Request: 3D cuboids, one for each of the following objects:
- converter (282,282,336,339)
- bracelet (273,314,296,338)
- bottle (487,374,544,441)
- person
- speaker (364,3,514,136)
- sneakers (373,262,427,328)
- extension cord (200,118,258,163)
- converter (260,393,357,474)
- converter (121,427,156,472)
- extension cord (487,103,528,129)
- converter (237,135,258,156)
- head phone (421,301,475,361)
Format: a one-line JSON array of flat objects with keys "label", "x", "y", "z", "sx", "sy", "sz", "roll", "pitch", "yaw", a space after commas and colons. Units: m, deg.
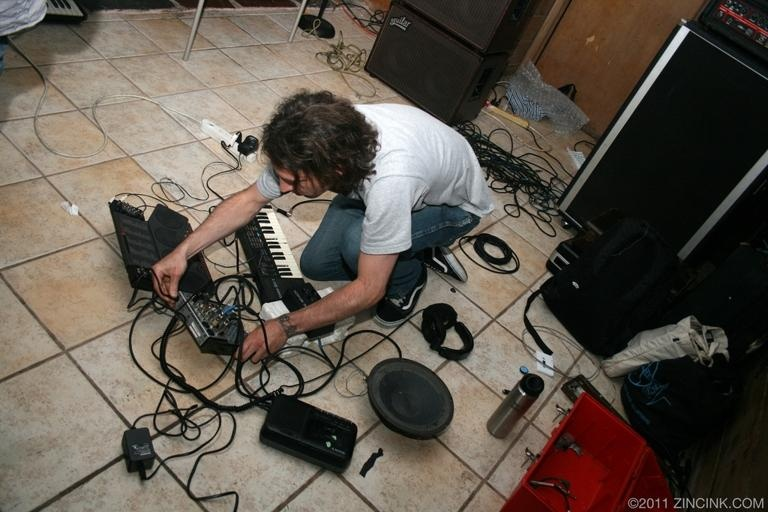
[{"label": "converter", "x": -0.405, "y": 0.185, "z": 2.841, "sx": 0.122, "sy": 0.215, "sz": 0.071, "roll": 45, "pitch": 43, "yaw": 6}, {"label": "bracelet", "x": -0.438, "y": 0.306, "z": 2.591, "sx": 0.066, "sy": 0.025, "sz": 0.105, "roll": -30, "pitch": 87, "yaw": 2}, {"label": "bottle", "x": 0.614, "y": 0.708, "z": 2.756, "sx": 0.125, "sy": 0.375, "sz": 0.168, "roll": -24, "pitch": 67, "yaw": -43}, {"label": "person", "x": -0.189, "y": -0.183, "z": 2.850, "sx": 1.642, "sy": 1.305, "sz": 0.988, "roll": -28, "pitch": 47, "yaw": -26}, {"label": "speaker", "x": 0.480, "y": -1.505, "z": 4.790, "sx": 1.069, "sy": 0.903, "sz": 0.784, "roll": 20, "pitch": 33, "yaw": 21}, {"label": "sneakers", "x": 0.069, "y": 0.239, "z": 3.164, "sx": 0.316, "sy": 0.289, "sz": 0.276, "roll": 1, "pitch": 34, "yaw": -12}, {"label": "extension cord", "x": -0.953, "y": -0.689, "z": 3.537, "sx": 0.335, "sy": 0.132, "sz": 0.091, "roll": 38, "pitch": 54, "yaw": 3}, {"label": "converter", "x": -0.336, "y": 0.773, "z": 2.601, "sx": 0.428, "sy": 0.126, "sz": 0.238, "roll": 22, "pitch": 44, "yaw": -6}, {"label": "converter", "x": -1.000, "y": 0.778, "z": 2.383, "sx": 0.147, "sy": 0.106, "sz": 0.204, "roll": -4, "pitch": 50, "yaw": -31}, {"label": "extension cord", "x": 1.051, "y": -1.189, "z": 5.000, "sx": 0.500, "sy": 0.060, "sz": 0.114, "roll": 26, "pitch": 71, "yaw": 0}, {"label": "converter", "x": -0.821, "y": -0.672, "z": 3.504, "sx": 0.097, "sy": 0.053, "sz": 0.129, "roll": 23, "pitch": 41, "yaw": 13}, {"label": "head phone", "x": 0.316, "y": 0.382, "z": 3.046, "sx": 0.298, "sy": 0.127, "sz": 0.240, "roll": 45, "pitch": 52, "yaw": 4}]
